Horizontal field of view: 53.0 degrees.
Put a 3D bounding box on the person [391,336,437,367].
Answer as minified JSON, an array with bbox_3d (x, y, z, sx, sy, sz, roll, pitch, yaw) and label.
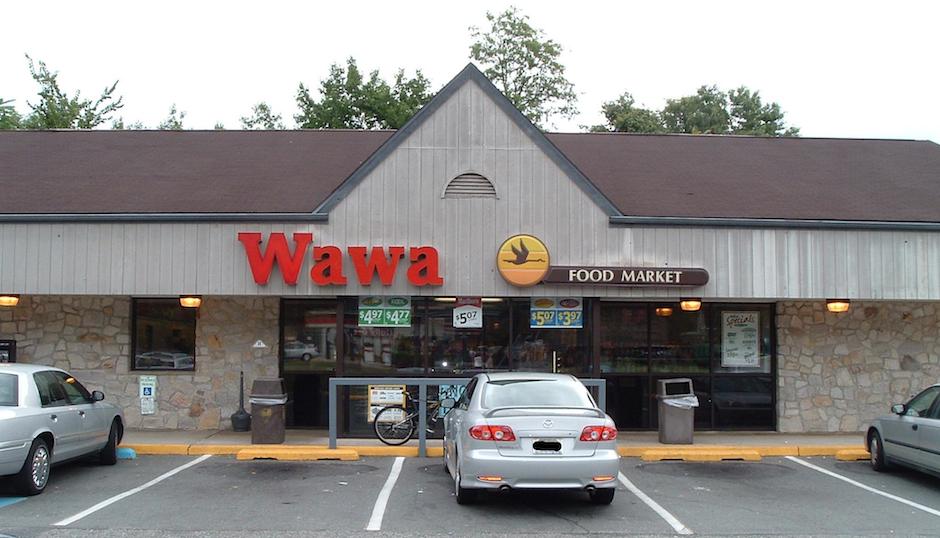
[{"bbox_3d":[-1.652,2.463,27.779,1.278,0.935,0.245,1,12,1],"label":"person"}]

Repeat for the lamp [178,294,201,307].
[{"bbox_3d":[-8.504,0.995,28.601,0.598,0.469,0.608,-2,11,-16],"label":"lamp"}]

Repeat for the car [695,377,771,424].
[{"bbox_3d":[8.226,4.076,29.437,2.436,0.871,1.300,-2,-1,3],"label":"car"}]
